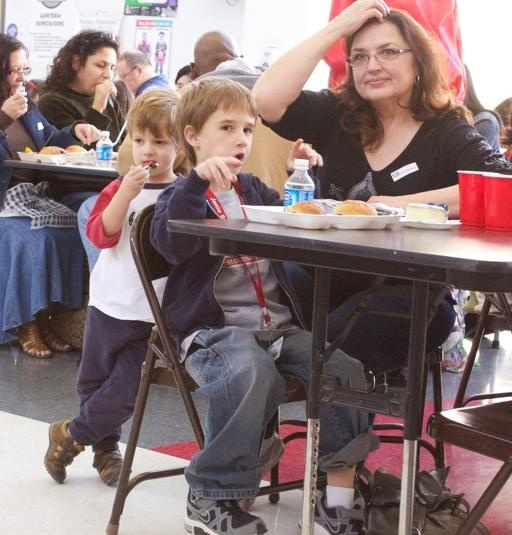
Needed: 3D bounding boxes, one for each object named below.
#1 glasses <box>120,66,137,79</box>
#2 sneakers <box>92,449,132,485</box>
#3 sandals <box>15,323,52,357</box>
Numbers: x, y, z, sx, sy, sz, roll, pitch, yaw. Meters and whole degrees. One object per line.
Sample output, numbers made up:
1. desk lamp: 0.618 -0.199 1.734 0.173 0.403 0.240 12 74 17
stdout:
1. glasses: -1.251 -1.878 5.673 0.164 0.064 0.120 10 0 4
2. sneakers: -0.412 0.555 1.631 0.061 0.065 0.157 2 -6 -22
3. sandals: -1.206 0.386 3.143 0.115 0.134 0.320 -6 7 -37
